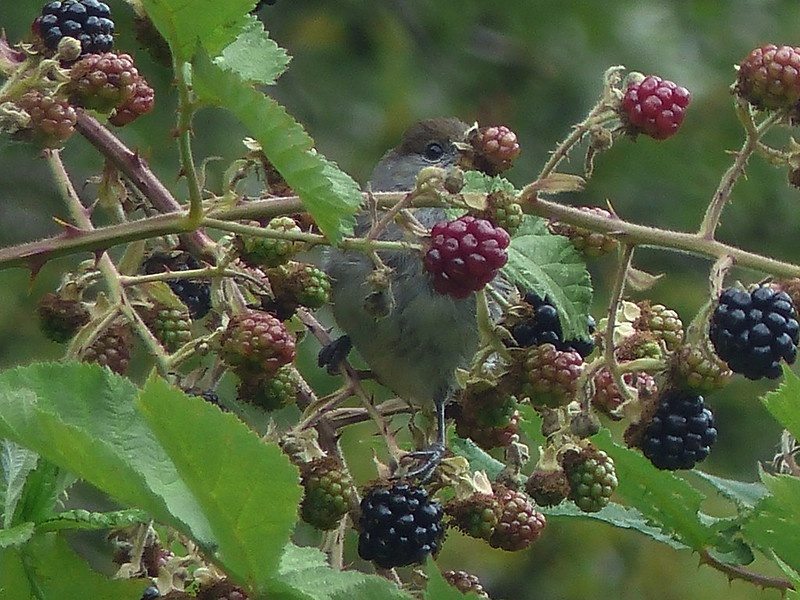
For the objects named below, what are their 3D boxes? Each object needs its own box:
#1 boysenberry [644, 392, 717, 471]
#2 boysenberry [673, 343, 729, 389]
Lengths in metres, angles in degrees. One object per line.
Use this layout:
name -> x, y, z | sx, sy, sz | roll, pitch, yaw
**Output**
boysenberry -> 0.234, 0.111, 1.350 | 0.052, 0.069, 0.048 | 11, 7, -12
boysenberry -> 0.248, 0.057, 1.324 | 0.034, 0.043, 0.033 | -1, 10, 33
